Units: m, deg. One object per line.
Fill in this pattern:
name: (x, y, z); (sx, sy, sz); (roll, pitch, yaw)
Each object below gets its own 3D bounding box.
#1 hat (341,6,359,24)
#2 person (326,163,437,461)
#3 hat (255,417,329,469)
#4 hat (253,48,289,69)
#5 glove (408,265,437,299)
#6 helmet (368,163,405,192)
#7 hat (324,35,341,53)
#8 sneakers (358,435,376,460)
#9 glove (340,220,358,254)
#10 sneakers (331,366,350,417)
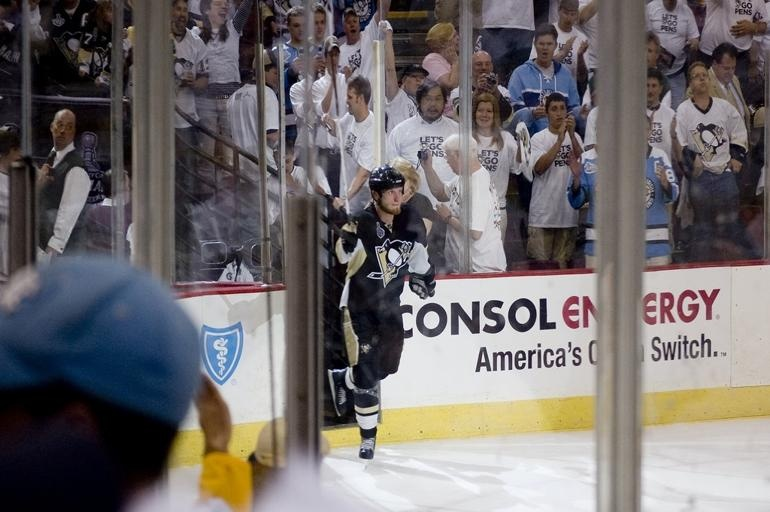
hat: (-0.259, -1.843, 10.552); (0.082, 0.119, 0.116); (1, 5, -2)
person: (-0.021, 0.402, 10.522); (0.823, 2.168, 0.288); (-2, 2, -35)
hat: (-0.607, 1.153, 8.309); (0.418, 0.327, 0.600); (3, 3, -7)
hat: (-0.868, -1.509, 10.422); (0.217, 0.232, 0.088); (5, 4, 14)
glove: (0.296, 0.202, 10.675); (0.210, 0.216, 0.096); (29, -35, -22)
helmet: (0.022, -0.602, 10.524); (0.221, 0.235, 0.192); (-11, 13, -3)
hat: (-0.401, -1.597, 10.387); (0.109, 0.136, 0.257); (-1, 2, -2)
sneakers: (-0.129, 1.427, 10.375); (0.132, 0.152, 0.209); (-1, 2, -2)
glove: (-0.273, -0.157, 10.448); (0.049, 0.213, 0.150); (-5, -12, 6)
sneakers: (-0.332, 1.000, 10.451); (0.152, 0.387, 0.124); (-4, 10, 19)
